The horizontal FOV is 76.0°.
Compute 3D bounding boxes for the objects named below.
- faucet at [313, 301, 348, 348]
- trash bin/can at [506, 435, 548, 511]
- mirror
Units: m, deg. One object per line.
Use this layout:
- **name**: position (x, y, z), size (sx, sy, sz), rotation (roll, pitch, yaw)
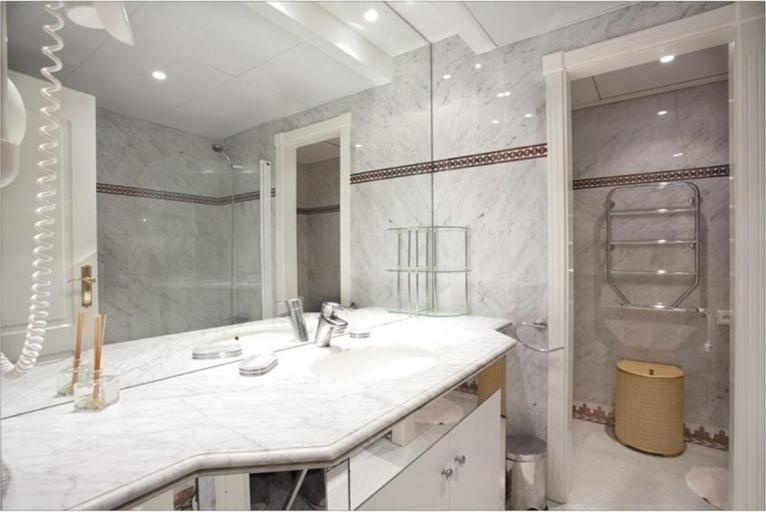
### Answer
- **faucet**: position (-0.253, 0.333, 2.337), size (0.153, 0.193, 0.096), rotation (16, 14, 29)
- **trash bin/can**: position (0.770, 1.208, 2.771), size (0.327, 0.341, 0.319), rotation (-1, -5, 1)
- **mirror**: position (-0.696, -0.176, 2.155), size (0.309, 1.094, 1.642), rotation (-4, -2, 43)
